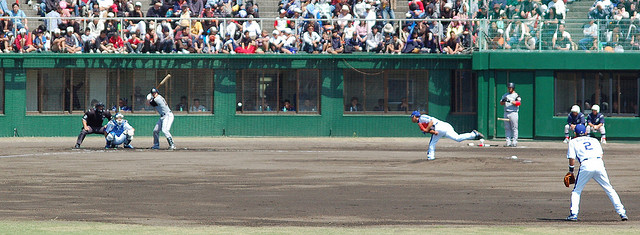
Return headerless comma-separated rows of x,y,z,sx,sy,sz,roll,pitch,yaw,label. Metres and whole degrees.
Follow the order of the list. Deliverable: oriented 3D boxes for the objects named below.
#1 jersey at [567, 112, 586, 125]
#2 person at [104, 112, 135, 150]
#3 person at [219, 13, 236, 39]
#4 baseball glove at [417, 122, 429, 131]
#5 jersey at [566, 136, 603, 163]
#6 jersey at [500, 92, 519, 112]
19.747,0.077,86.146,1.112,0.937,1.218,-3,-6,28,jersey
-15.197,1.127,84.501,1.919,2.676,0.718,-2,3,-8,person
-7.400,-7.020,89.316,1.282,1.494,0.409,-2,3,-8,person
7.545,0.694,81.704,0.622,0.590,0.430,-1,3,-2,baseball glove
17.719,2.248,74.994,3.097,1.645,1.241,-1,3,13,jersey
14.731,-1.171,86.743,2.311,1.488,1.114,0,-4,14,jersey
